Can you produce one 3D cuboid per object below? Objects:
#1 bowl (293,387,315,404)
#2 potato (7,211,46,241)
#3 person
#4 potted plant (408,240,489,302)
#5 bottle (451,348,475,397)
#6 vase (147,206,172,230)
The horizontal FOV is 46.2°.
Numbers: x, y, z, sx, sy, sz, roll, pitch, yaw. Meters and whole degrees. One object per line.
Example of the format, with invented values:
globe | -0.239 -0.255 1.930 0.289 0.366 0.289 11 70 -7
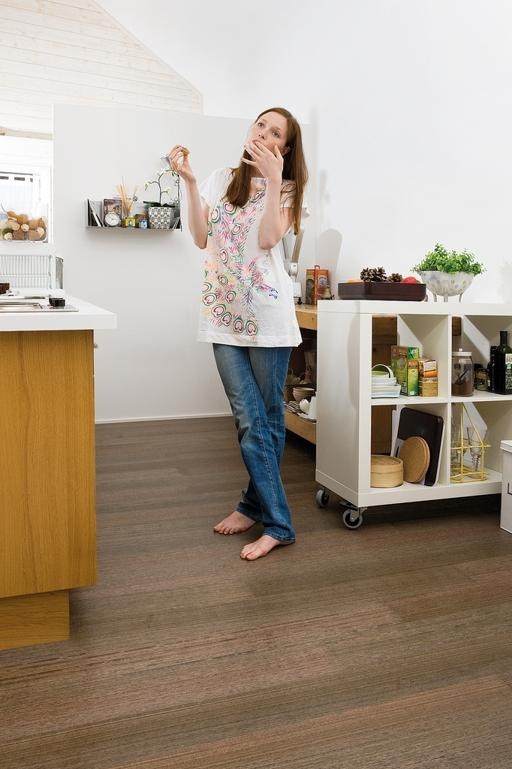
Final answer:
bowl | 0.271 0.053 3.359 0.091 0.063 0.089 1 4 0
potato | -1.150 -0.793 2.990 0.196 0.146 0.091 -1 5 -24
person | -0.037 -0.162 1.885 0.372 1.362 0.424 2 4 15
potted plant | 0.753 -0.443 2.350 0.228 0.217 0.177 1 5 9
bottle | 0.759 -0.041 2.206 0.154 0.161 0.053 -3 6 -42
vase | -0.644 -1.101 4.004 0.148 0.125 0.172 -4 12 -15
